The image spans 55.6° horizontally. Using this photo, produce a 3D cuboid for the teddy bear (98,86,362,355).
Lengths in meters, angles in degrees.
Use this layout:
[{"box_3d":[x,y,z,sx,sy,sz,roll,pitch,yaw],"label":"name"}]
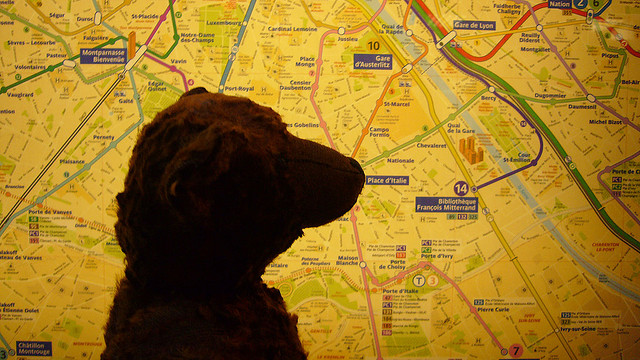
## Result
[{"box_3d":[-0.576,0.178,3.689,1.354,1.516,1.229,-2,7,-18],"label":"teddy bear"}]
